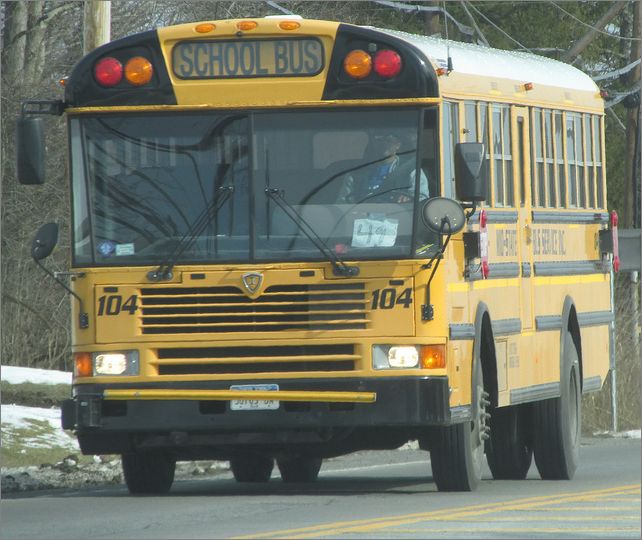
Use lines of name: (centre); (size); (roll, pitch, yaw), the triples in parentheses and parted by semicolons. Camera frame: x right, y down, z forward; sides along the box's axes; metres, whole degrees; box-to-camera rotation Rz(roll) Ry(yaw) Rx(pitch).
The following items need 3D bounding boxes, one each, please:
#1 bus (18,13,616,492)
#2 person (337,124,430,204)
bus: (0.502, -0.111, 12.247); (3.034, 3.208, 6.155); (-2, -3, 17)
person: (0.477, -0.648, 9.771); (0.782, 0.755, 0.448); (0, -4, 4)
